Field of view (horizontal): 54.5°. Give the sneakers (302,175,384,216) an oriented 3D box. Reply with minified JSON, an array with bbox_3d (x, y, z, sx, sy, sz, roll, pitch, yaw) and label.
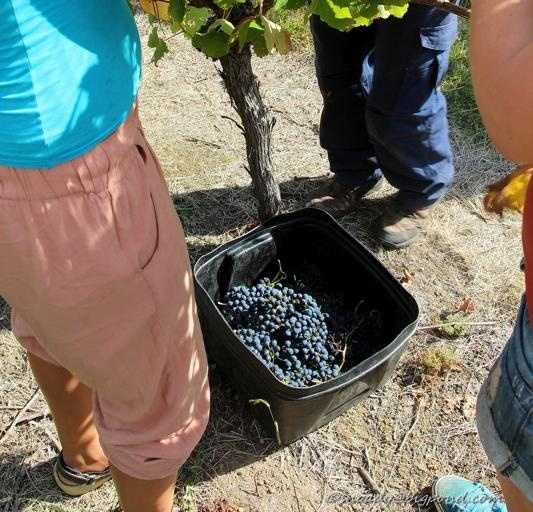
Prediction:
[{"bbox_3d":[0.449,-0.330,2.919,0.380,0.105,0.151,-34,66,14],"label":"sneakers"}]
